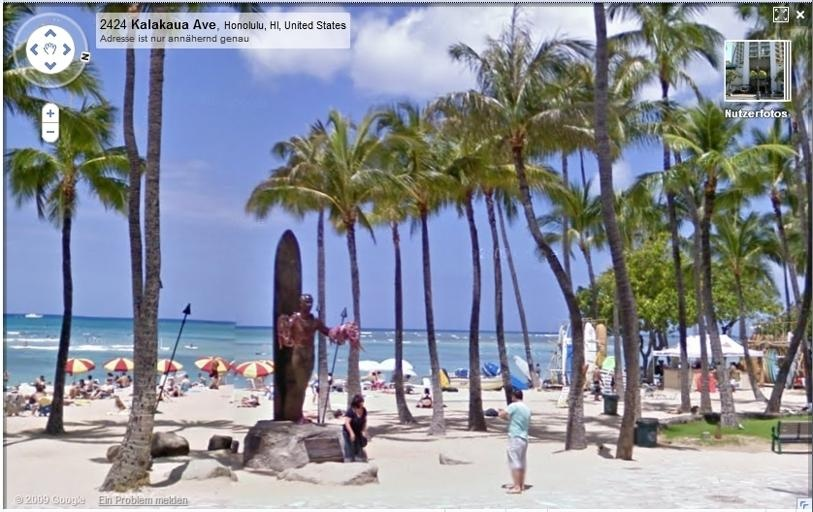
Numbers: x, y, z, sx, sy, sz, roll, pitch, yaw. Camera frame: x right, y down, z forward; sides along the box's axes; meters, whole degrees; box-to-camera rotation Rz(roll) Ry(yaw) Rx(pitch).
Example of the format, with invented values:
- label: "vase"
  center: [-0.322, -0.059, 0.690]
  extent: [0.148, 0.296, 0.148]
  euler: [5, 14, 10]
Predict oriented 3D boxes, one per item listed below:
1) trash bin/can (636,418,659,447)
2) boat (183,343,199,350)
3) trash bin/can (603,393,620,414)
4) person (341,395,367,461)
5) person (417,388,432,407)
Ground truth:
- label: "trash bin/can"
  center: [8.768, 6.332, 31.612]
  extent: [0.911, 1.073, 0.858]
  euler: [2, -9, -8]
- label: "boat"
  center: [-27.693, 11.562, 112.913]
  extent: [2.141, 1.123, 0.708]
  euler: [0, -2, -21]
- label: "trash bin/can"
  center: [9.411, 6.652, 39.732]
  extent: [0.888, 0.935, 0.839]
  euler: [0, -7, -2]
- label: "person"
  center: [-1.633, 5.415, 27.741]
  extent: [0.737, 2.099, 1.059]
  euler: [0, -7, -6]
- label: "person"
  center: [0.970, 7.208, 44.597]
  extent: [0.714, 1.045, 1.106]
  euler: [3, 5, 1]
